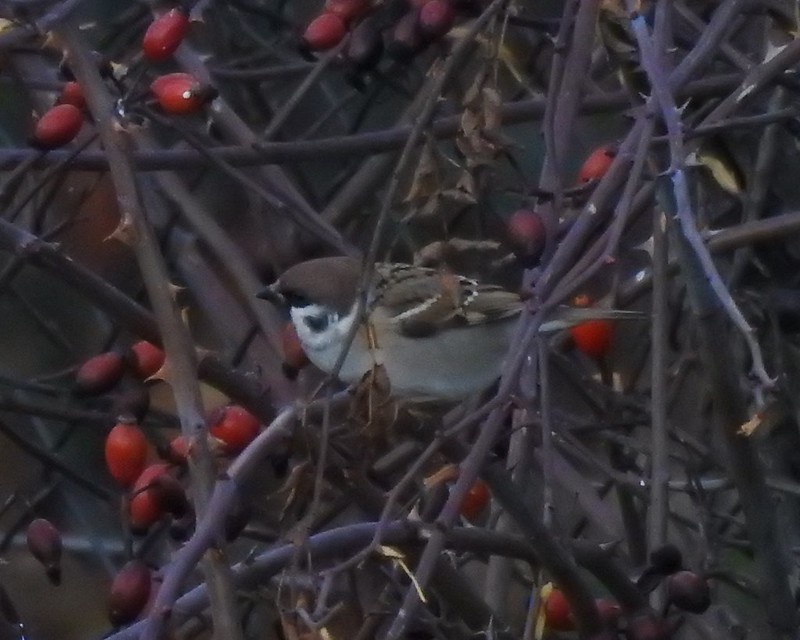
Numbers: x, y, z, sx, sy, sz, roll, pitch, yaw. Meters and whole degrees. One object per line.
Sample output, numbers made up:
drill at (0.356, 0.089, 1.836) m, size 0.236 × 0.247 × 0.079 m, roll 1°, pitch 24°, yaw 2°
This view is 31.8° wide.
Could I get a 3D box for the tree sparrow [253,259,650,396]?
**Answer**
tree sparrow at (0.141, 0.002, 2.578) m, size 0.803 × 0.252 × 0.340 m, roll 3°, pitch -78°, yaw 15°
